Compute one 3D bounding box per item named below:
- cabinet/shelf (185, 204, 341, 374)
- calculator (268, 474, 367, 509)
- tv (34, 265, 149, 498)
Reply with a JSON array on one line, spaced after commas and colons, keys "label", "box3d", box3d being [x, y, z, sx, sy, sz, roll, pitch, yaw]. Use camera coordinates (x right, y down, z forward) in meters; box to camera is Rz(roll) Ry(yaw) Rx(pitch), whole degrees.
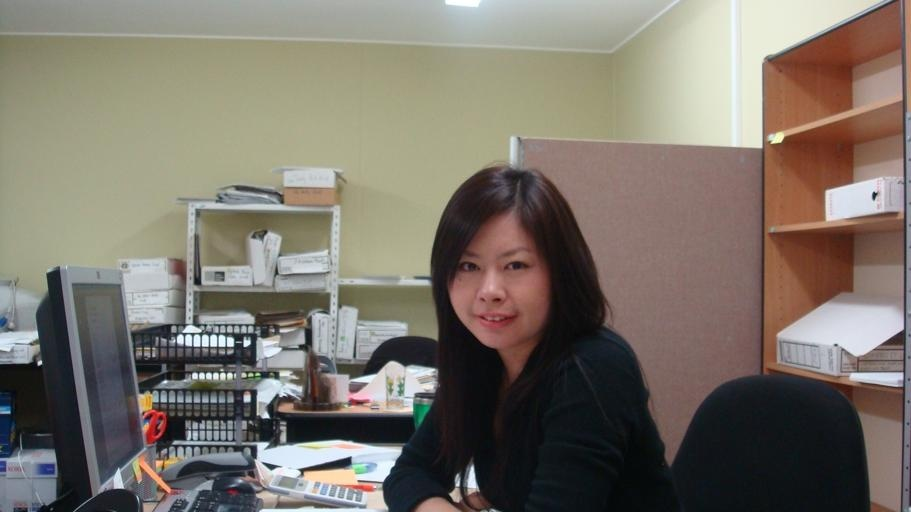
[{"label": "cabinet/shelf", "box3d": [-1.549, 0.163, 5.237, 1.241, 1.249, 0.389, -1, 0, -4]}, {"label": "calculator", "box3d": [-0.633, 1.076, 3.175, 0.457, 0.135, 0.381, -2, 0, 3]}, {"label": "tv", "box3d": [-1.569, 0.547, 2.876, 0.219, 1.037, 0.371, -1, 0, 35]}]
